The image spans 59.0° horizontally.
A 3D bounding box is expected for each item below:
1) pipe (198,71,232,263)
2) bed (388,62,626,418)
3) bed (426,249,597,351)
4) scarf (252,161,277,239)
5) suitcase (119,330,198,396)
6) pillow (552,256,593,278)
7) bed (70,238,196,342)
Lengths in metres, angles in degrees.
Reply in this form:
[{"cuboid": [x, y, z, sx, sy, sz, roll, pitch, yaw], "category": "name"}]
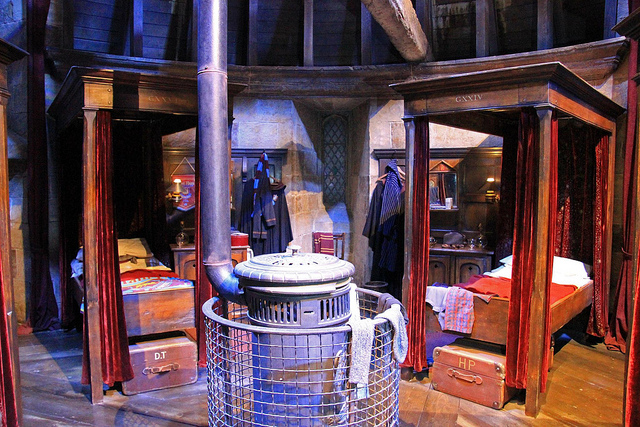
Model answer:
[{"cuboid": [-0.932, -0.463, 5.006, 0.337, 2.059, 0.337, -1, 1, -14], "category": "pipe"}, {"cuboid": [2.532, 0.162, 7.496, 2.637, 3.801, 2.159, -1, 3, -40], "category": "bed"}, {"cuboid": [2.641, 1.075, 7.396, 1.315, 0.663, 2.374, 2, 6, 38], "category": "bed"}, {"cuboid": [-0.926, -0.172, 8.953, 0.507, 1.273, 0.235, 4, 32, -3], "category": "scarf"}, {"cuboid": [-2.050, 1.892, 6.931, 0.941, 0.485, 0.696, 1, -8, -40], "category": "suitcase"}, {"cuboid": [3.445, 0.747, 7.736, 0.430, 0.128, 0.477, 9, 12, 17], "category": "pillow"}, {"cuboid": [-2.429, 1.023, 7.357, 1.137, 1.215, 1.793, -6, 9, -33], "category": "bed"}]
